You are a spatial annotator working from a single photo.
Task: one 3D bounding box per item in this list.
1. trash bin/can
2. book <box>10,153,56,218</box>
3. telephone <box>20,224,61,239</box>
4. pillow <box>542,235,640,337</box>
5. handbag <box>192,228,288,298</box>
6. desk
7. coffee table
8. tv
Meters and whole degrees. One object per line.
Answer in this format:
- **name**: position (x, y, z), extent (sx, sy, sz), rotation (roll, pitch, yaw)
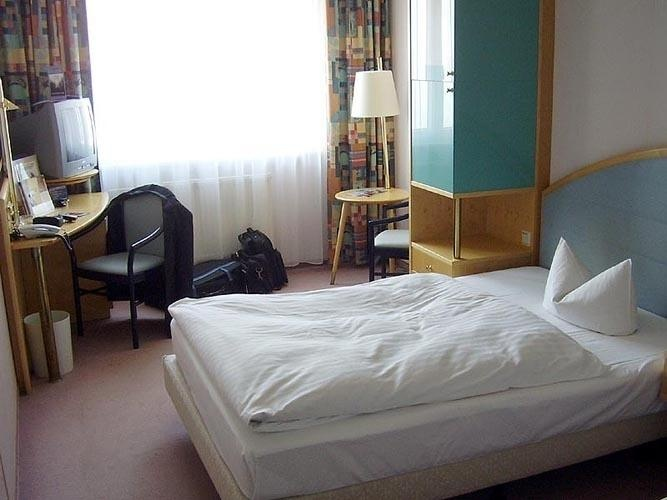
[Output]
- **trash bin/can**: position (-1.921, 0.654, 3.403), extent (0.269, 0.456, 0.298), rotation (-14, 23, -37)
- **book**: position (-2.198, -0.469, 3.694), extent (0.137, 0.421, 0.399), rotation (-10, 23, 3)
- **telephone**: position (-1.846, -0.116, 3.189), extent (0.147, 0.064, 0.111), rotation (-1, 4, -3)
- **pillow**: position (1.343, 0.063, 2.803), extent (0.355, 0.495, 0.654), rotation (-1, 7, -10)
- **handbag**: position (-0.848, 0.170, 4.718), extent (0.689, 0.528, 0.583), rotation (-13, 28, -20)
- **desk**: position (-1.983, 0.279, 3.655), extent (0.425, 0.615, 1.149), rotation (-4, 20, -15)
- **coffee table**: position (0.283, -0.167, 5.018), extent (0.846, 1.042, 0.812), rotation (-1, 15, -1)
- **tv**: position (-2.186, -0.913, 4.205), extent (0.591, 0.639, 0.599), rotation (0, 16, -2)
